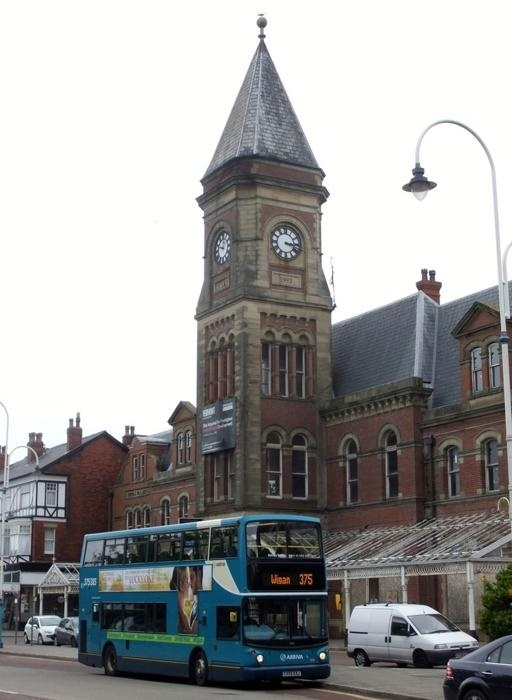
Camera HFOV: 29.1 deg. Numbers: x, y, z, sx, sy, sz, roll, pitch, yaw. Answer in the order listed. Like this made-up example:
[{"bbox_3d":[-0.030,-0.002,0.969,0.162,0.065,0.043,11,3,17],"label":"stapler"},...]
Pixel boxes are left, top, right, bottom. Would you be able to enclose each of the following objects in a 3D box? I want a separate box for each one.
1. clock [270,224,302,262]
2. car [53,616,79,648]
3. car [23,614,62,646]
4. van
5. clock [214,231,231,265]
[{"bbox_3d":[1.262,-4.818,43.731,1.436,1.410,0.203,-21,11,-39],"label":"clock"},{"bbox_3d":[-8.599,12.808,44.778,0.692,1.318,2.815,5,-18,-19],"label":"car"},{"bbox_3d":[-10.209,13.419,47.414,1.378,1.002,2.276,5,-17,-26],"label":"car"},{"bbox_3d":[3.807,7.080,24.450,1.653,1.224,2.775,6,-15,-39],"label":"van"},{"bbox_3d":[-1.474,-4.725,44.568,0.085,1.297,1.303,3,20,-24],"label":"clock"}]
